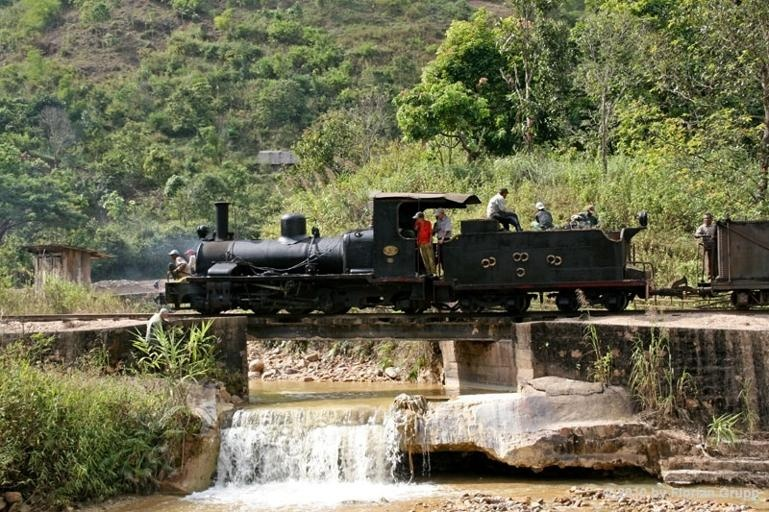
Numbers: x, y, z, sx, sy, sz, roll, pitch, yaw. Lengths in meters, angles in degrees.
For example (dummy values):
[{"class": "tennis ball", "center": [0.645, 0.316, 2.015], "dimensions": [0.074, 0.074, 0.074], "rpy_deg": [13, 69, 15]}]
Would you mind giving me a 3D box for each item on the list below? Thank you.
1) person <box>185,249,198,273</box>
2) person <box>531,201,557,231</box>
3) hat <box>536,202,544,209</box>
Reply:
[{"class": "person", "center": [-7.150, 0.200, 39.926], "dimensions": [0.266, 0.778, 0.594], "rpy_deg": [-1, 1, -10]}, {"class": "person", "center": [6.148, -1.485, 41.641], "dimensions": [0.922, 1.400, 1.012], "rpy_deg": [-7, 29, 4]}, {"class": "hat", "center": [5.698, -1.820, 39.507], "dimensions": [0.341, 0.296, 0.534], "rpy_deg": [-4, 4, -8]}]
